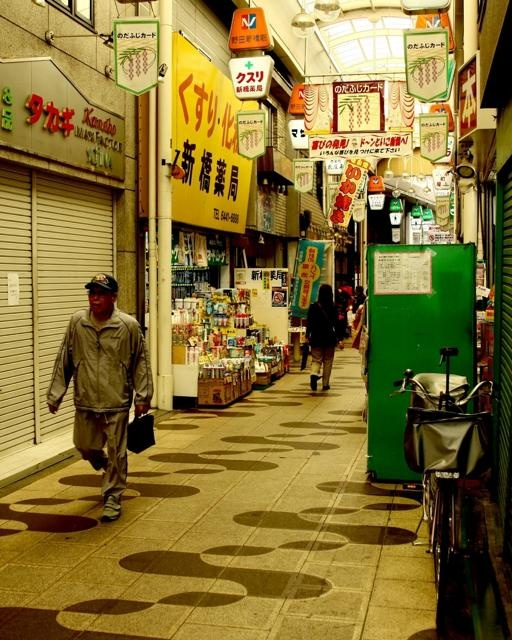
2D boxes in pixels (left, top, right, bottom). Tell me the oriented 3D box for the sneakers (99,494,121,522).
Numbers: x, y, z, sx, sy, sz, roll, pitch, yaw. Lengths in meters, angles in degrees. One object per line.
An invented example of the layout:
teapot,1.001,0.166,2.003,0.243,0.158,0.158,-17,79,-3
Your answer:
sneakers,-1.035,1.327,4.116,0.140,0.165,0.303,0,-4,-13

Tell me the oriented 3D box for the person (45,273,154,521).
person,-1.132,0.547,4.177,0.707,1.731,0.394,-2,-3,14

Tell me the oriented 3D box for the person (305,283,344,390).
person,1.245,0.338,10.774,0.603,2.006,0.548,-1,-3,3

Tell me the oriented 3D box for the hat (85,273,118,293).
hat,-1.119,-0.268,4.162,0.191,0.168,0.303,-1,-3,-4

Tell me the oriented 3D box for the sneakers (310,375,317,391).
sneakers,1.068,1.170,10.647,0.094,0.337,0.218,-1,-9,1

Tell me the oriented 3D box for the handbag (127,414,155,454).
handbag,-0.826,0.819,4.152,0.207,0.260,0.165,1,-4,-32
